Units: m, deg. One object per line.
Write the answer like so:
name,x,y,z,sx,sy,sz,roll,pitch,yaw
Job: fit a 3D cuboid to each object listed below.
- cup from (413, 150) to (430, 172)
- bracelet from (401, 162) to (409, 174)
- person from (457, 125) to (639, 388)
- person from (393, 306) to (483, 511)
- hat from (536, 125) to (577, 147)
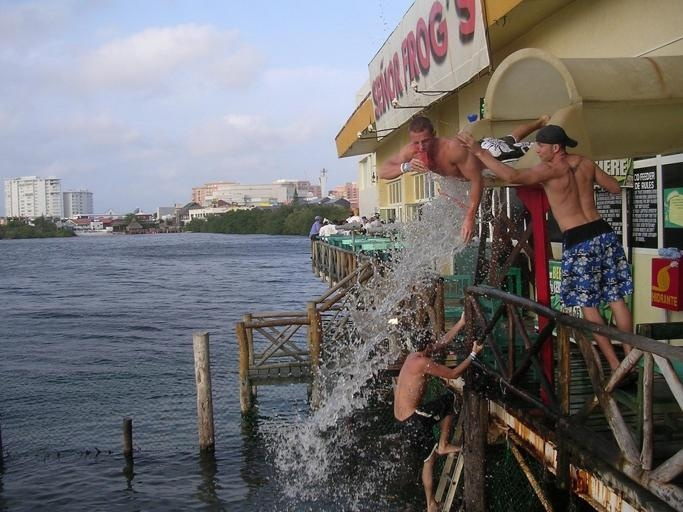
cup,0.928,-1.060,8.224,0.205,0.195,0.162,-6,3,-41
bracelet,0.747,-1.007,8.521,0.088,0.105,0.097,-21,-24,-11
person,2.342,-0.304,7.719,1.289,2.158,0.571,-3,2,14
person,1.197,2.118,9.455,1.128,2.750,0.851,-2,2,27
hat,2.276,-1.247,7.703,0.481,0.244,0.207,-5,3,-21
